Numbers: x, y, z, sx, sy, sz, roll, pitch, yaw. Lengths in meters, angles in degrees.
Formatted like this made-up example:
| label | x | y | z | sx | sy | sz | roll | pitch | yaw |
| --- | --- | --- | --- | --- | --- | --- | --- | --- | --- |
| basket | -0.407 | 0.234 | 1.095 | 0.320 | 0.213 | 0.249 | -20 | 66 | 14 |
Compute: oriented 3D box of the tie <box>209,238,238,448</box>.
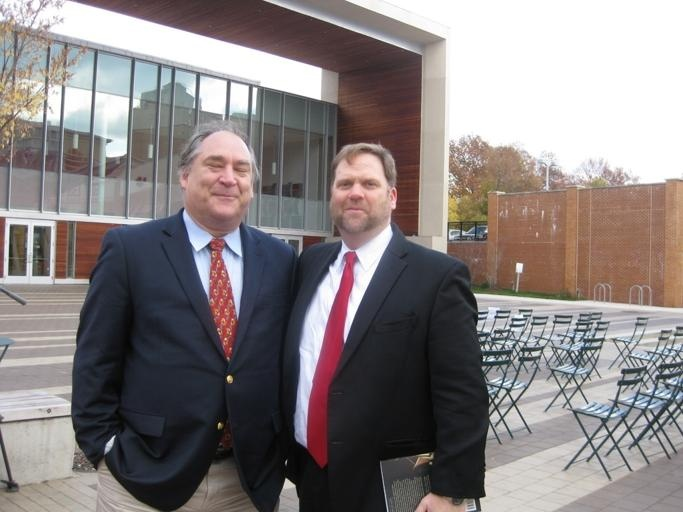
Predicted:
| label | x | y | z | sx | sy | sz | roll | pitch | yaw |
| --- | --- | --- | --- | --- | --- | --- | --- | --- | --- |
| tie | -0.582 | 0.413 | 2.581 | 0.131 | 0.983 | 0.129 | -2 | -14 | -14 |

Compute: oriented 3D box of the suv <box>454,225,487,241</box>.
| label | x | y | z | sx | sy | sz | roll | pitch | yaw |
| --- | --- | --- | --- | --- | --- | --- | --- | --- | --- |
| suv | 10.497 | -1.861 | 42.566 | 2.072 | 1.137 | 1.194 | 4 | -2 | 21 |
